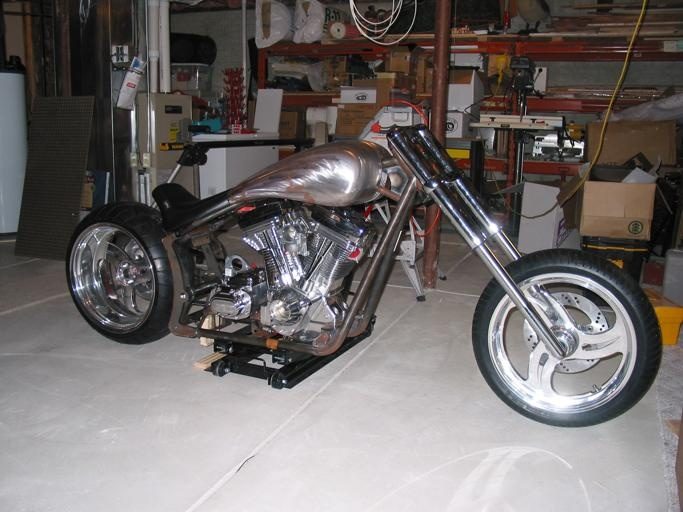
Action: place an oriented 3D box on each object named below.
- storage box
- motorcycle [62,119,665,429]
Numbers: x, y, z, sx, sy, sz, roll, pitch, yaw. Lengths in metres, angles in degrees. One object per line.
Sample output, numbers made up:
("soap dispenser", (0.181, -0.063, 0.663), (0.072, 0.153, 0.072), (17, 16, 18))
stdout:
("storage box", (2.308, -0.530, 4.335), (0.737, 0.365, 0.763), (8, 36, 11))
("motorcycle", (-0.086, 0.033, 2.548), (3.069, 1.413, 0.649), (12, 19, 26))
